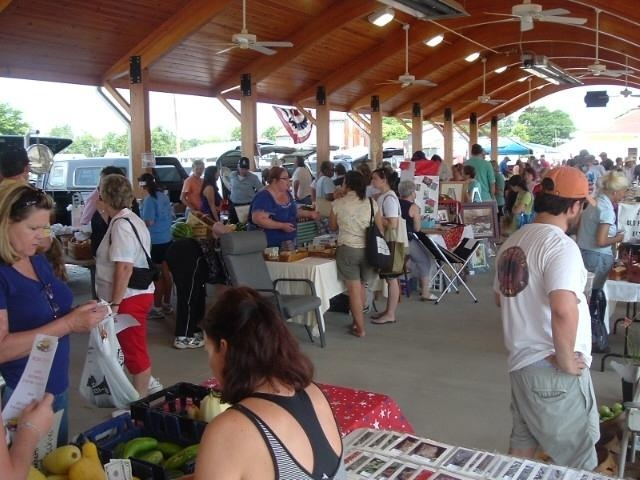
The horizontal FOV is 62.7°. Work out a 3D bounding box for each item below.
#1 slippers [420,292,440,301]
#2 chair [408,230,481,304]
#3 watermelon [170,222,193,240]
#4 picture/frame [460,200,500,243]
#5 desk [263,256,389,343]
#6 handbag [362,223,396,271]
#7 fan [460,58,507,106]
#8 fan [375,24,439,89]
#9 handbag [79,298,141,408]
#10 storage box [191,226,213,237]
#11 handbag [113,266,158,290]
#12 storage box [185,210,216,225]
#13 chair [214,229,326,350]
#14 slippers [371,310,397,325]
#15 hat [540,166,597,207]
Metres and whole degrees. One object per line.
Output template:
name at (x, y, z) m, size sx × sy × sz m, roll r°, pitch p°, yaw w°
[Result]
slippers at (1.431, 0.741, 6.883) m, size 0.209 × 0.082 × 0.101 m, roll 0°, pitch 3°, yaw 4°
chair at (1.697, 0.344, 7.106) m, size 0.900 × 0.850 × 0.563 m, roll -2°, pitch 4°, yaw -16°
watermelon at (-1.668, -0.124, 6.321) m, size 0.283 × 0.278 × 0.248 m, roll -3°, pitch -7°, yaw -6°
picture/frame at (2.444, -0.276, 8.082) m, size 0.670 × 0.738 × 0.054 m, roll -3°, pitch -15°, yaw 7°
desk at (-0.007, 0.452, 5.491) m, size 0.851 × 0.508 × 1.047 m, roll 4°, pitch 6°, yaw 24°
handbag at (0.583, 0.081, 5.366) m, size 0.153 × 0.486 × 0.364 m, roll -15°, pitch -25°, yaw 25°
fan at (5.096, -5.056, 16.366) m, size 1.208 × 1.374 × 1.345 m, roll 0°, pitch 22°, yaw 14°
fan at (1.692, -3.703, 10.460) m, size 1.073 × 1.205 × 0.952 m, roll -11°, pitch 30°, yaw -8°
handbag at (-1.309, 0.803, 3.309) m, size 0.358 × 0.760 × 0.465 m, roll -7°, pitch 13°, yaw -32°
storage box at (-1.432, -0.104, 6.358) m, size 0.227 × 0.143 × 0.122 m, roll -1°, pitch 10°, yaw -27°
handbag at (-1.266, 0.269, 3.721) m, size 0.182 × 0.171 × 0.127 m, roll -4°, pitch 9°, yaw -22°
storage box at (-1.519, -0.271, 6.595) m, size 0.397 × 0.110 × 0.387 m, roll 10°, pitch 8°, yaw 17°
chair at (-0.474, 0.478, 4.981) m, size 0.806 × 1.064 × 0.686 m, roll 2°, pitch 7°, yaw 28°
slippers at (0.729, 0.873, 5.982) m, size 0.287 × 0.274 × 0.136 m, roll 3°, pitch -1°, yaw 0°
hat at (1.286, -0.276, 2.680) m, size 0.251 × 0.128 × 0.179 m, roll 12°, pitch 12°, yaw -22°
